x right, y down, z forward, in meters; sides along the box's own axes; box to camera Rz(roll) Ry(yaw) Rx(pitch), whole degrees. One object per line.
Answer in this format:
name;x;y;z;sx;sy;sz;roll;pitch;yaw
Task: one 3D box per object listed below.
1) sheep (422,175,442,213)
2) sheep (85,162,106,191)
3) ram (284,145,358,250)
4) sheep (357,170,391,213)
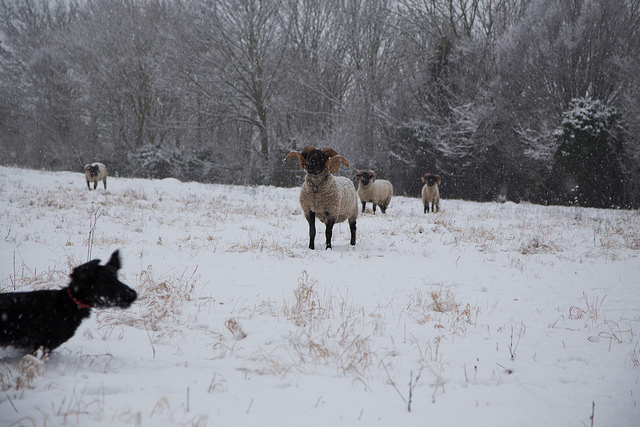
sheep;5.803;-1.052;29.755;1.199;1.920;0.654;-7;14;-35
sheep;-12.039;-1.963;30.406;1.211;1.353;1.138;-10;17;-44
ram;0.293;-0.676;22.531;2.278;3.844;1.412;-3;13;-22
sheep;2.719;-0.992;28.789;1.058;2.335;2.661;8;4;36
